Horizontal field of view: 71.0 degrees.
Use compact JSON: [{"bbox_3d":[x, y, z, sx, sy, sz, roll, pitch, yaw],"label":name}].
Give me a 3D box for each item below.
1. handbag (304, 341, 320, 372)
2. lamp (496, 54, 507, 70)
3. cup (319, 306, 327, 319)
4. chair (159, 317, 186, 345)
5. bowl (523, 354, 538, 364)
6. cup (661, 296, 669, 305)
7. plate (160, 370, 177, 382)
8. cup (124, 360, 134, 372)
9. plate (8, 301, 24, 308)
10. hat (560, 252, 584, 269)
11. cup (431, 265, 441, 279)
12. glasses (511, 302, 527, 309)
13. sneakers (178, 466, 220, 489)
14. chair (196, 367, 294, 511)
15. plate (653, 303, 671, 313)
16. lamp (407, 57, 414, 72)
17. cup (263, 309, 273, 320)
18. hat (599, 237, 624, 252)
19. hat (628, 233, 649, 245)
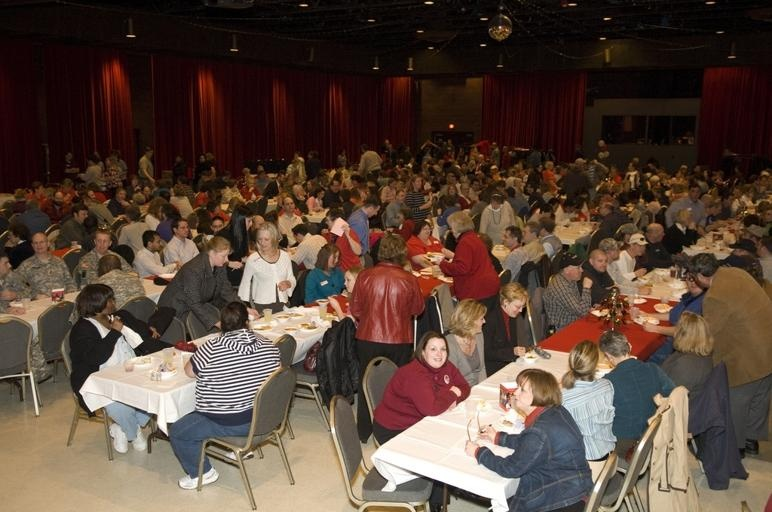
[{"bbox_3d":[-0.809,1.090,5.918,0.174,0.323,0.147,12,1,18],"label":"handbag"},{"bbox_3d":[5.099,-8.508,23.780,0.489,0.803,0.463,0,7,9],"label":"lamp"},{"bbox_3d":[-0.731,0.676,6.444,0.108,0.124,0.109,1,-3,0],"label":"cup"},{"bbox_3d":[-2.421,0.840,6.101,0.229,0.315,0.230,6,18,16],"label":"chair"},{"bbox_3d":[1.476,1.033,5.493,0.094,0.035,0.094,-7,25,3],"label":"bowl"},{"bbox_3d":[3.699,0.566,7.107,0.100,0.108,0.098,-2,1,0],"label":"cup"},{"bbox_3d":[-2.071,1.114,5.154,0.159,0.060,0.126,-10,14,-30],"label":"plate"},{"bbox_3d":[-2.494,1.058,5.247,0.073,0.064,0.100,1,-2,18],"label":"cup"},{"bbox_3d":[-4.585,0.585,6.700,0.157,0.060,0.110,12,-9,-43],"label":"plate"},{"bbox_3d":[2.522,0.046,7.313,0.289,0.153,0.211,-14,10,-2],"label":"hat"},{"bbox_3d":[0.746,0.226,8.022,0.145,0.136,0.117,-1,9,-6],"label":"cup"},{"bbox_3d":[1.415,0.505,5.763,0.124,0.038,0.125,3,8,-42],"label":"glasses"},{"bbox_3d":[-1.774,2.092,5.192,0.401,0.168,0.158,1,2,-28],"label":"sneakers"},{"bbox_3d":[-1.334,1.602,5.081,0.829,1.283,0.797,-15,17,-43],"label":"chair"},{"bbox_3d":[3.451,0.634,6.698,0.135,0.031,0.135,0,18,13],"label":"plate"},{"bbox_3d":[1.192,-9.014,25.399,0.339,0.640,0.808,-2,12,3],"label":"lamp"},{"bbox_3d":[-1.394,0.671,6.321,0.120,0.130,0.115,0,-3,0],"label":"cup"},{"bbox_3d":[3.256,-0.173,7.745,0.438,0.159,0.274,-7,14,-30],"label":"hat"},{"bbox_3d":[3.733,-0.261,7.927,0.238,0.138,0.184,1,5,7],"label":"hat"}]
